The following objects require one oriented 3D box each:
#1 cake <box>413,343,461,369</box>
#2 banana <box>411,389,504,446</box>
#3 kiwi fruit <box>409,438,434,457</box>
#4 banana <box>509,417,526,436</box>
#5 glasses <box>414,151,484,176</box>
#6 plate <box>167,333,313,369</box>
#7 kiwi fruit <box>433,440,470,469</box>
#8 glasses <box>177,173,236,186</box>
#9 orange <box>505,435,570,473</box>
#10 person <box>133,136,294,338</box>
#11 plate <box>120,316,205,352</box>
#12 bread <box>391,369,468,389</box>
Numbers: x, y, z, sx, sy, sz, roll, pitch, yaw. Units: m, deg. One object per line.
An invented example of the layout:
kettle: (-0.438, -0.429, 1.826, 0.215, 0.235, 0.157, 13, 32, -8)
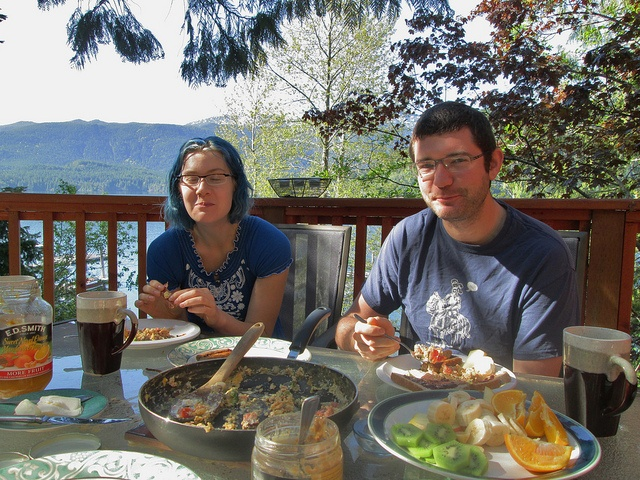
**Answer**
cake: (0.367, 0.370, 1.535, 0.073, 0.039, 0.096, 3, -1, -21)
banana: (0.303, 0.371, 1.057, 0.131, 0.085, 0.149, -1, 4, -29)
kiwi fruit: (0.208, 0.429, 0.975, 0.056, 0.020, 0.051, -4, 3, -29)
banana: (0.428, 0.408, 1.033, 0.008, 0.031, 0.033, -36, -41, 0)
glasses: (0.516, -0.301, 1.992, 0.284, 0.088, 0.166, 1, 3, 25)
plate: (-0.273, 0.339, 1.615, 0.369, 0.062, 0.344, 2, 2, 33)
kiwi fruit: (0.264, 0.434, 0.950, 0.086, 0.034, 0.054, -4, 3, -25)
glasses: (-0.576, -0.298, 2.405, 0.245, 0.069, 0.082, -3, 3, -17)
orange: (0.446, 0.434, 0.966, 0.127, 0.046, 0.071, -2, 3, 16)
person: (-0.508, 0.033, 2.386, 0.596, 1.216, 0.585, 0, 3, 0)
plate: (-0.601, 0.324, 1.764, 0.209, 0.100, 0.237, 5, 3, 31)
bread: (0.311, 0.388, 1.389, 0.189, 0.037, 0.146, -1, 0, -20)
